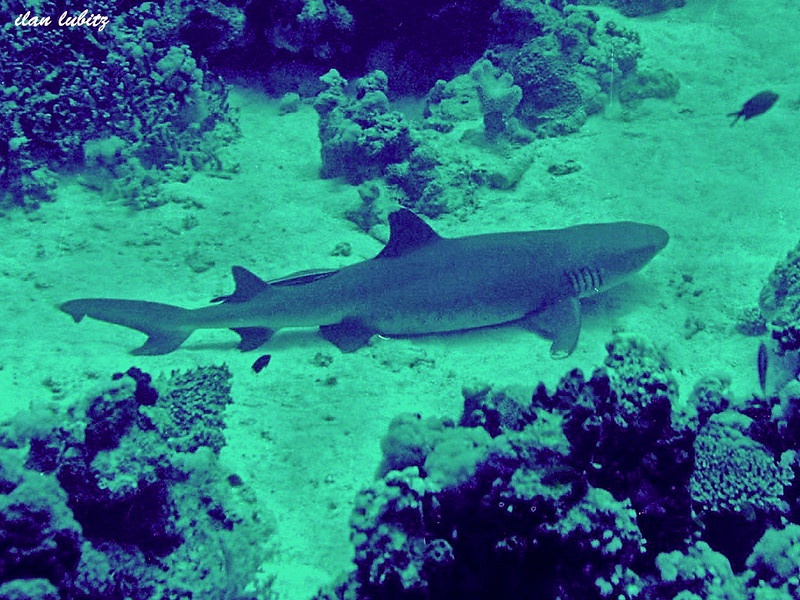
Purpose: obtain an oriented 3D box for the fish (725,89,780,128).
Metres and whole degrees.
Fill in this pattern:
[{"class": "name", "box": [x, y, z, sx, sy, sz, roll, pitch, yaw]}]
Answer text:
[{"class": "fish", "box": [3.505, -1.918, 8.726, 0.408, 0.343, 0.201, 9, 36, 10]}]
